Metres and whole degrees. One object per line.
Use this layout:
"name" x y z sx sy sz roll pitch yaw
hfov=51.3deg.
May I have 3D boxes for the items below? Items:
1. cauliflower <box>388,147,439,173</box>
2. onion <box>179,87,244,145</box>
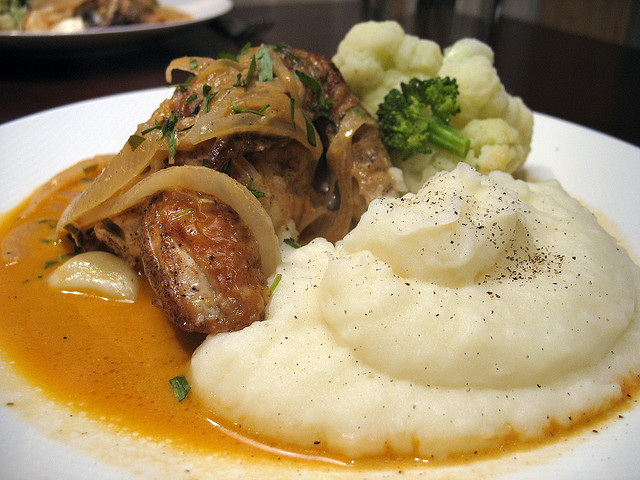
"cauliflower" 0.864 -0.783 6.524 0.333 0.277 0.101 23 50 -10
"onion" -0.905 -1.035 5.451 0.468 0.459 0.318 -21 23 -32
